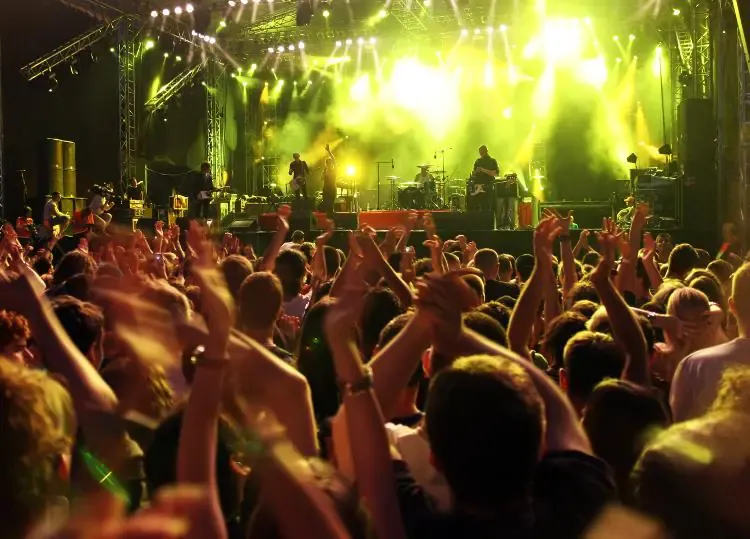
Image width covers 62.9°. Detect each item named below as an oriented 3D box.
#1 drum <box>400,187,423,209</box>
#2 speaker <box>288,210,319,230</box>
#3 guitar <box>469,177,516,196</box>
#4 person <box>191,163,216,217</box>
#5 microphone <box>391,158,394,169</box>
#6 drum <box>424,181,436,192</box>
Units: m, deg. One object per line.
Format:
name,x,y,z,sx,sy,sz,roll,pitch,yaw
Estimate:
drum,0.813,-1.544,13.676,0.442,0.501,0.487,-19,0,15
speaker,-1.393,-0.914,11.616,0.445,0.387,0.479,1,5,0
guitar,2.377,-1.564,12.026,0.662,0.274,0.394,-2,1,24
person,-3.711,-1.623,12.952,0.174,1.366,0.619,2,-4,-1
microphone,0.533,-3.044,17.768,0.130,0.212,0.121,0,4,-16
drum,1.278,-1.849,13.935,0.187,0.159,0.201,1,-6,0
